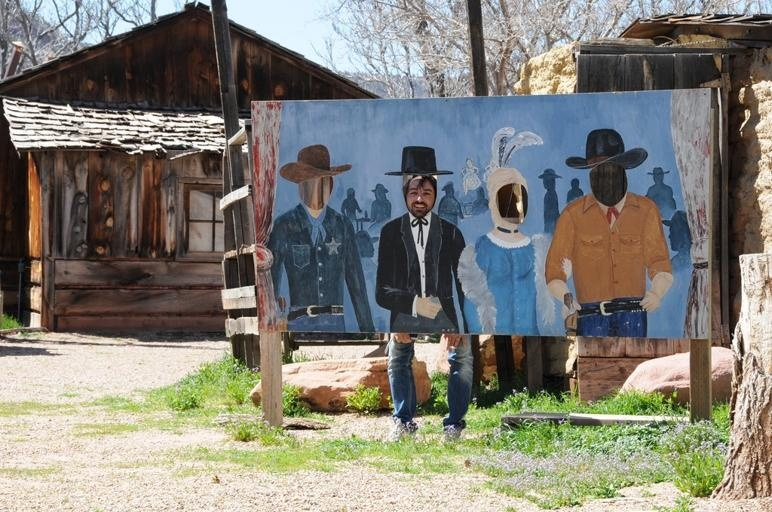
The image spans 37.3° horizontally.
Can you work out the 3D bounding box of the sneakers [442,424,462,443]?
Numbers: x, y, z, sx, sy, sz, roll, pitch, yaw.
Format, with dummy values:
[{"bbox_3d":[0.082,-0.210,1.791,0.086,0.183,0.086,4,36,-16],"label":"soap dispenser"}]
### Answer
[{"bbox_3d":[0.863,2.347,15.033,0.186,0.166,0.214,3,-22,-1],"label":"sneakers"}]
